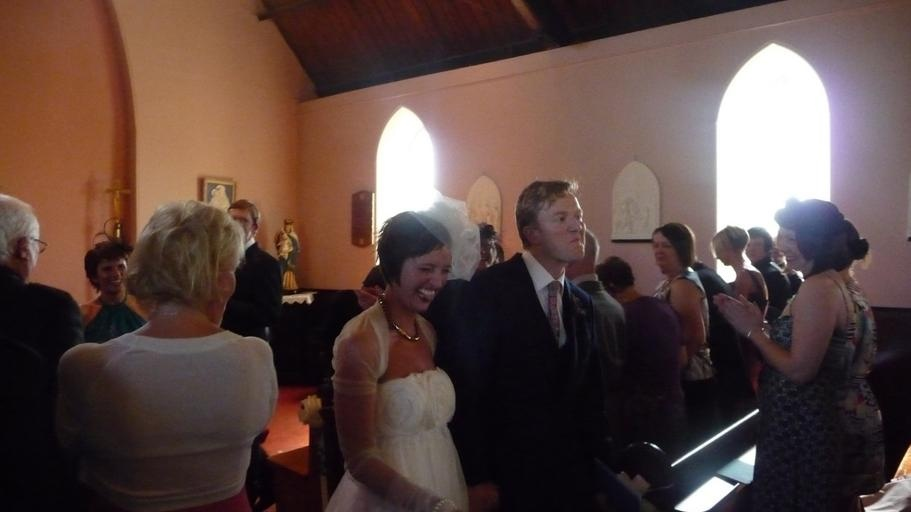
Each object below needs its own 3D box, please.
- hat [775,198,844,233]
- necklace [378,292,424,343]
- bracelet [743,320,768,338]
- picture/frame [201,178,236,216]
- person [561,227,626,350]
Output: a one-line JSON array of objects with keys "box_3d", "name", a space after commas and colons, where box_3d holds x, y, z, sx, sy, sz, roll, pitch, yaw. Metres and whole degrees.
[{"box_3d": [2.973, -0.376, 5.740, 0.639, 0.229, 0.521, 1, 8, 25], "name": "hat"}, {"box_3d": [-0.433, 0.492, 5.104, 0.285, 0.381, 0.117, -33, 1, -27], "name": "necklace"}, {"box_3d": [2.539, 0.624, 5.667, 0.187, 0.048, 0.189, -21, 3, 31], "name": "bracelet"}, {"box_3d": [-4.068, -1.063, 11.635, 0.046, 0.428, 0.612, 3, 0, 37], "name": "picture/frame"}, {"box_3d": [1.189, 0.355, 6.348, 0.571, 1.148, 0.567, 6, 22, 10], "name": "person"}]
